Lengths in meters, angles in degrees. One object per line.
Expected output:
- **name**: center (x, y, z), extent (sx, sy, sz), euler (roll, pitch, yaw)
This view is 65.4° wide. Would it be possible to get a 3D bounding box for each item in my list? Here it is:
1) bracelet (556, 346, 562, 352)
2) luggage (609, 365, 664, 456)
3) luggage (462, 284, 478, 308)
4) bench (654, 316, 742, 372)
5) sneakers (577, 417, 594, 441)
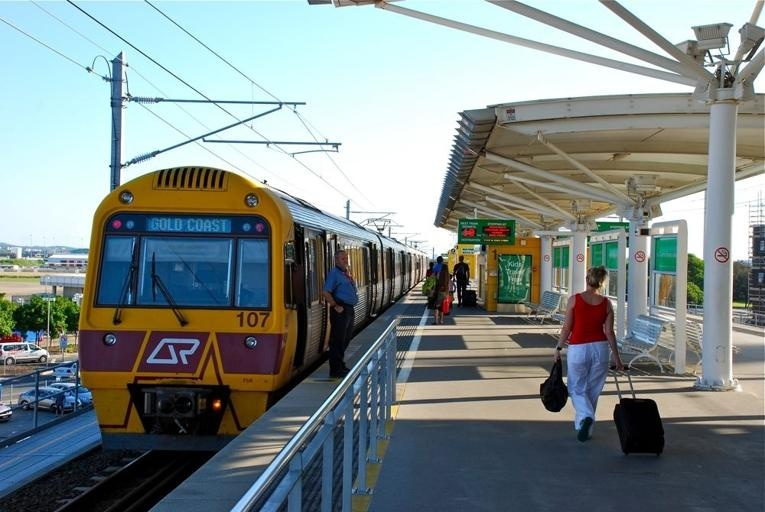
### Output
- **bracelet**: center (2.391, 1.262, 8.019), extent (0.126, 0.051, 0.136), euler (1, -6, 5)
- **luggage**: center (3.247, 2.060, 7.560), extent (0.562, 0.716, 0.524), euler (-9, 3, 19)
- **luggage**: center (4.166, 2.054, 28.272), extent (0.870, 1.453, 1.047), euler (0, 12, 6)
- **bench**: center (6.414, 1.827, 12.182), extent (0.520, 0.544, 1.438), euler (3, 0, -7)
- **sneakers**: center (2.694, 2.299, 7.933), extent (0.182, 0.388, 0.169), euler (6, 17, -1)
